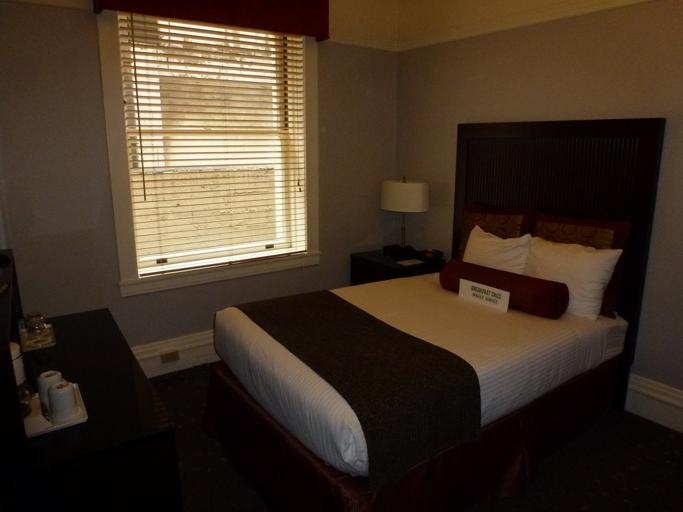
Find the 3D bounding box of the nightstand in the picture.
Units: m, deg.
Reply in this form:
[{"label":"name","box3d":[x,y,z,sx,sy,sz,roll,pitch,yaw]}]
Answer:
[{"label":"nightstand","box3d":[0.559,0.055,4.757,0.509,0.329,0.501,-11,17,-34]}]

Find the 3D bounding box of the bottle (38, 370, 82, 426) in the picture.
[{"label":"bottle","box3d":[-1.313,0.668,2.473,0.237,0.233,0.147,5,6,39]}]

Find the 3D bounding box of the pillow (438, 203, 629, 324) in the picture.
[{"label":"pillow","box3d":[1.388,0.070,3.612,0.118,0.492,0.790,25,-4,-35]}]

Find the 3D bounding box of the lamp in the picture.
[{"label":"lamp","box3d":[0.597,-0.327,4.897,0.464,0.751,0.468,-6,16,-25]}]
